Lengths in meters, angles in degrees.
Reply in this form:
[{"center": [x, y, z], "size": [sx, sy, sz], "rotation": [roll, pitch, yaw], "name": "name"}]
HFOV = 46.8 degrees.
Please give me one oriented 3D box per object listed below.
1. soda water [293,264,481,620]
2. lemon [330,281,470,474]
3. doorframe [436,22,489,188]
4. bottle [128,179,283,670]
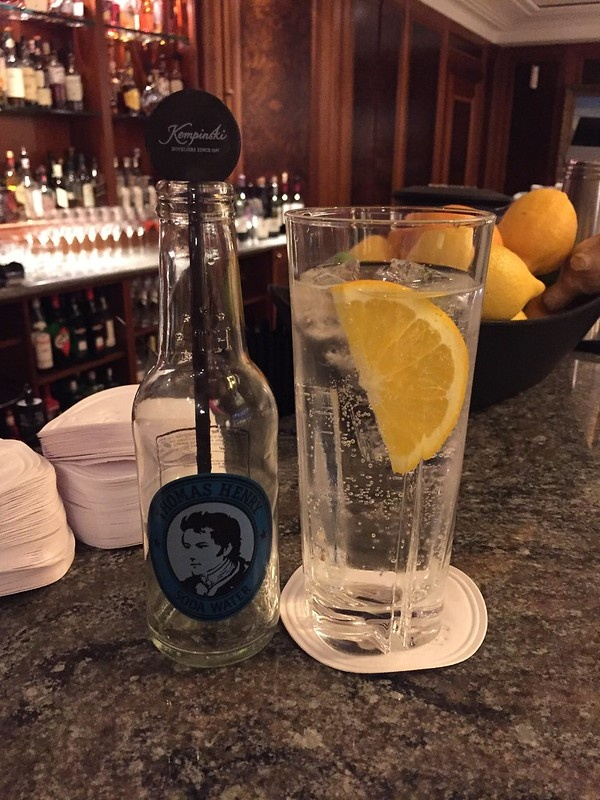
[{"center": [0.051, 0.042, 0.445], "size": [0.121, 0.222, 0.117], "rotation": [2, 4, 2], "name": "soda water"}, {"center": [0.056, -0.013, 0.384], "size": [0.072, 0.106, 0.033], "rotation": [-2, 22, 2], "name": "lemon"}, {"center": [1.366, -2.459, 5.901], "size": [0.276, 1.245, 1.266], "rotation": [5, 23, 19], "name": "doorframe"}, {"center": [-0.063, 0.005, 0.443], "size": [0.095, 0.281, 0.173], "rotation": [-4, 22, -3], "name": "bottle"}]
